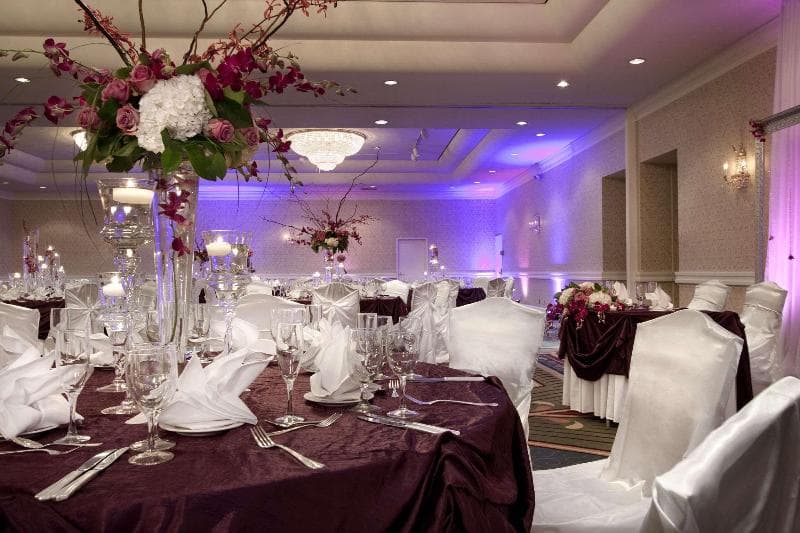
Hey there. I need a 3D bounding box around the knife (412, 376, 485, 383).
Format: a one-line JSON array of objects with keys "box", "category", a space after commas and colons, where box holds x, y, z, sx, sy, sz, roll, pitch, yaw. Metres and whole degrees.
[{"box": [0.203, 0.454, 2.159, 0.286, 0.025, 0.029, 0, 20, 10], "category": "knife"}]

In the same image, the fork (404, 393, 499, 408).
[{"box": [0.192, 0.475, 1.899, 0.325, 0.053, 0.037, 2, 3, 14], "category": "fork"}]

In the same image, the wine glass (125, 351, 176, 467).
[{"box": [-0.685, 0.362, 1.477, 0.124, 0.316, 0.166, -2, 7, -25], "category": "wine glass"}]

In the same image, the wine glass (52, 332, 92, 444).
[{"box": [-0.972, 0.343, 1.580, 0.095, 0.313, 0.200, -3, 7, -31], "category": "wine glass"}]

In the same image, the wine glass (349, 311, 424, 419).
[{"box": [-0.002, 0.334, 1.856, 0.158, 0.296, 0.409, 2, 5, 6], "category": "wine glass"}]
